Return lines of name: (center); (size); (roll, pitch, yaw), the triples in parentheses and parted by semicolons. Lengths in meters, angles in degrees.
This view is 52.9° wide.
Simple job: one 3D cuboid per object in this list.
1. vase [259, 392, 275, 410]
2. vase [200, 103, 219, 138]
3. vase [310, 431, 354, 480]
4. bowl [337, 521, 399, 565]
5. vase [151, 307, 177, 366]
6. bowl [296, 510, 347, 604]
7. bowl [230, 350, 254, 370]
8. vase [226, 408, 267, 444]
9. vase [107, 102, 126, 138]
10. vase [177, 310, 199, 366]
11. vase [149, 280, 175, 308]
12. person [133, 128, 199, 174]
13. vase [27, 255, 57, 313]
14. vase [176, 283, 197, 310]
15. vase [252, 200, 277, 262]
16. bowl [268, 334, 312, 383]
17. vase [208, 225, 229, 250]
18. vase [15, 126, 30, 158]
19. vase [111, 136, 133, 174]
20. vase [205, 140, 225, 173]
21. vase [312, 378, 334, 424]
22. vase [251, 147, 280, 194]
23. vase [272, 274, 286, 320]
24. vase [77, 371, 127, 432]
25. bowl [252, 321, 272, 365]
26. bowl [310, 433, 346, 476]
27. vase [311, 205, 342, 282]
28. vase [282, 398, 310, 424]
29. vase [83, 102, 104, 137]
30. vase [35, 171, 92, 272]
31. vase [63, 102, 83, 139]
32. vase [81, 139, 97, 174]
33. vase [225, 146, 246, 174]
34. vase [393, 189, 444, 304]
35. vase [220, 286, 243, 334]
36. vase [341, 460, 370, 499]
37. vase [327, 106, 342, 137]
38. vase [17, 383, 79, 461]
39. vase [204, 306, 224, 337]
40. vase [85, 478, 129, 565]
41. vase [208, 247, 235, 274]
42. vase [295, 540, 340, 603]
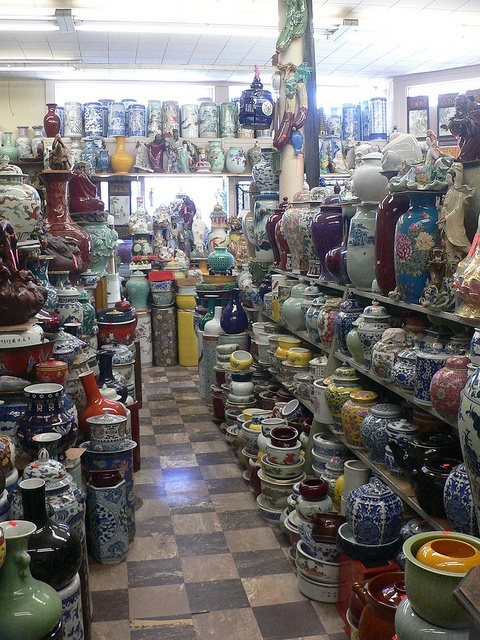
vase: (0.205, 0.599, 3.590); (0.114, 0.083, 0.114); (0, 2, 3)
vase: (-0.464, -2.947, 7.121); (0.262, 0.506, 0.170); (-1, 3, -6)
vase: (0.457, 0.677, 2.448); (0.195, 0.200, 0.194); (0, 3, -2)
bowl: (0.419, 0.758, 1.619); (0.131, 0.055, 0.131); (1, 2, 0)
vase: (-0.962, 0.217, 6.208); (0.321, 0.769, 0.271); (-2, 3, -9)
bowl: (0.316, 0.969, 2.049); (0.271, 0.280, 0.306); (1, 0, 7)
bowl: (0.020, 0.309, 3.874); (0.152, 0.092, 0.149); (2, 11, 0)
vase: (0.024, 0.749, 3.452); (0.324, 0.133, 0.315); (-8, 10, -23)
vase: (-1.778, -2.900, 7.004); (0.258, 0.532, 0.347); (-2, 3, -14)
vase: (-0.677, 0.235, 6.200); (0.276, 0.735, 0.172); (-1, 3, 4)
vase: (-0.997, -0.314, 6.087); (0.318, 0.322, 0.316); (-3, 3, -25)
person: (-1.057, -2.438, 7.001); (0.972, 0.649, 0.305); (-1, 3, -2)
vase: (-1.083, -0.209, 2.666); (0.146, 0.332, 0.482); (-2, 3, -21)
vase: (-0.649, -0.299, 6.109); (0.312, 0.292, 0.312); (0, 3, -5)
vase: (0.196, -0.778, 4.094); (0.228, 0.572, 0.277); (0, 3, 23)
bowl: (0.323, 0.252, 3.133); (0.281, 0.239, 0.278); (-1, 7, 0)
vase: (-0.260, -1.013, 5.979); (0.262, 0.404, 0.288); (3, 7, 20)
vase: (-3.100, -2.539, 6.928); (0.217, 0.553, 0.460); (-2, 3, -24)
vase: (-1.677, -2.335, 6.852); (0.314, 0.532, 0.218); (-2, 3, -14)
vase: (-0.350, -2.373, 6.989); (0.228, 0.470, 0.131); (-1, 3, -4)
vase: (0.410, 0.419, 2.503); (0.190, 0.202, 0.189); (0, 3, 4)
vase: (0.225, -1.306, 4.285); (0.352, 0.416, 0.350); (0, 4, -1)
vase: (0.289, -0.157, 3.584); (0.107, 0.338, 0.105); (1, 9, -22)
vase: (-0.669, 0.410, 2.360); (0.224, 0.310, 0.272); (-2, 3, -15)
bowl: (0.171, 0.183, 3.873); (0.268, 0.273, 0.268); (0, 6, 0)
bowl: (0.426, 0.664, 2.465); (0.182, 0.187, 0.181); (2, 5, 0)
vase: (0.474, -0.429, 2.683); (0.130, 0.420, 0.297); (-2, 3, -11)
vase: (0.348, 0.570, 3.049); (0.171, 0.117, 0.129); (-1, 3, 2)
vase: (-2.129, -2.926, 7.077); (0.280, 0.477, 0.216); (-2, 3, -17)
vase: (-1.178, -0.665, 3.322); (0.310, 0.672, 0.386); (-2, 3, -18)
vase: (-2.442, -2.928, 7.107); (0.263, 0.514, 0.213); (-2, 3, -19)
vase: (-2.143, -2.324, 6.847); (0.277, 0.460, 0.216); (0, 3, 13)
vase: (-0.061, -2.350, 7.158); (0.341, 0.433, 0.346); (-3, 6, -15)
vase: (0.600, -0.245, 1.658); (0.084, 0.377, 0.198); (-2, 3, -21)
vase: (-0.070, -0.075, 4.253); (0.177, 0.391, 0.196); (-3, 3, -28)
vase: (0.484, 0.673, 2.065); (0.112, 0.128, 0.154); (-1, 3, 0)
vase: (1.494, -3.123, 7.625); (0.178, 0.510, 0.220); (1, 3, 30)
vase: (-0.686, 0.387, 1.850); (0.245, 0.313, 0.246); (0, 4, 0)
vase: (-0.237, 0.004, 4.431); (0.233, 0.328, 0.231); (2, -3, -2)
vase: (-0.603, 0.928, 2.225); (0.181, 0.434, 0.286); (-2, 3, -17)
vase: (-0.202, -0.628, 5.075); (0.245, 0.288, 0.340); (-1, 3, -5)
vase: (0.316, 1.019, 1.995); (0.194, 0.149, 0.202); (0, 2, -1)
